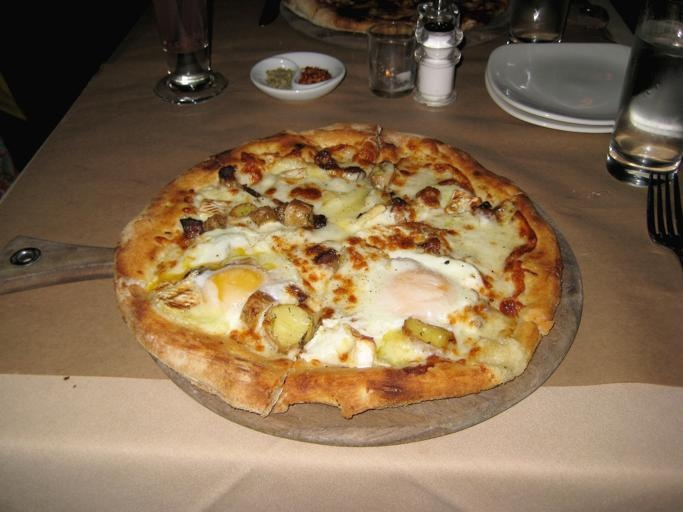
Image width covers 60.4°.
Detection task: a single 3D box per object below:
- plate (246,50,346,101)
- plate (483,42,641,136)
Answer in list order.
[{"bbox_3d":[-0.309,-1.254,4.116,0.637,0.119,0.455,5,40,7],"label":"plate"},{"bbox_3d":[1.414,-1.056,3.897,1.056,0.134,0.697,7,47,7],"label":"plate"}]
